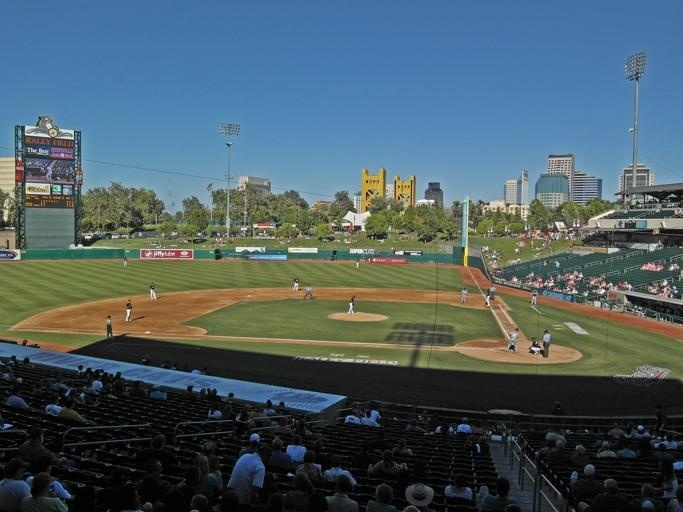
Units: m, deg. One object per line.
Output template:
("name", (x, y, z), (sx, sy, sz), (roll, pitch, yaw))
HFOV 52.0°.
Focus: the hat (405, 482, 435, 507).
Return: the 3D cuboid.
("hat", (1.773, 5.449, 15.899), (0.564, 0.488, 0.483), (-1, 5, -22))
